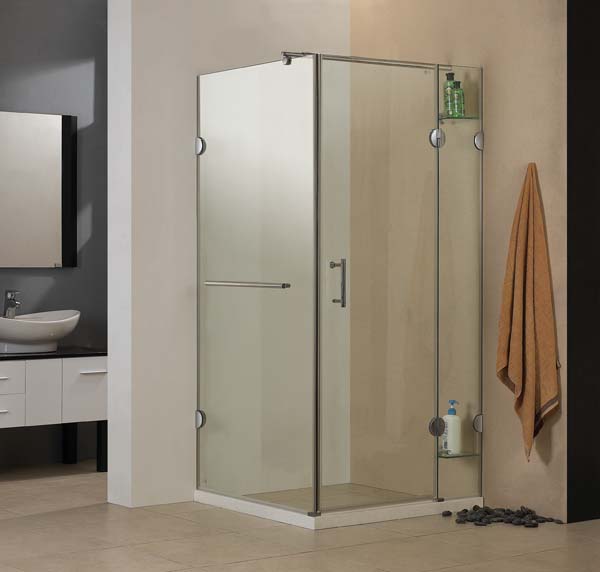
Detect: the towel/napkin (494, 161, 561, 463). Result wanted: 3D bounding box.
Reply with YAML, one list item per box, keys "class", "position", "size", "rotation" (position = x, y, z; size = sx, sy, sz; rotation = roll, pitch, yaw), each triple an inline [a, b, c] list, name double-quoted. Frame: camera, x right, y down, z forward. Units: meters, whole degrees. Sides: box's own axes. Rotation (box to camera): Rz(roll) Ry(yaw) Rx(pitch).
- class: "towel/napkin"
  position: [1.009, 0.119, 3.149]
  size: [0.251, 1.272, 0.392]
  rotation: [-1, 13, 6]

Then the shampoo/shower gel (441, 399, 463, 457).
- class: "shampoo/shower gel"
  position: [0.701, 0.665, 3.281]
  size: [0.068, 0.253, 0.158]
  rotation: [7, 17, 35]

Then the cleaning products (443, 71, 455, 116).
- class: "cleaning products"
  position: [0.694, -0.895, 3.280]
  size: [0.025, 0.200, 0.090]
  rotation: [8, 17, 39]
